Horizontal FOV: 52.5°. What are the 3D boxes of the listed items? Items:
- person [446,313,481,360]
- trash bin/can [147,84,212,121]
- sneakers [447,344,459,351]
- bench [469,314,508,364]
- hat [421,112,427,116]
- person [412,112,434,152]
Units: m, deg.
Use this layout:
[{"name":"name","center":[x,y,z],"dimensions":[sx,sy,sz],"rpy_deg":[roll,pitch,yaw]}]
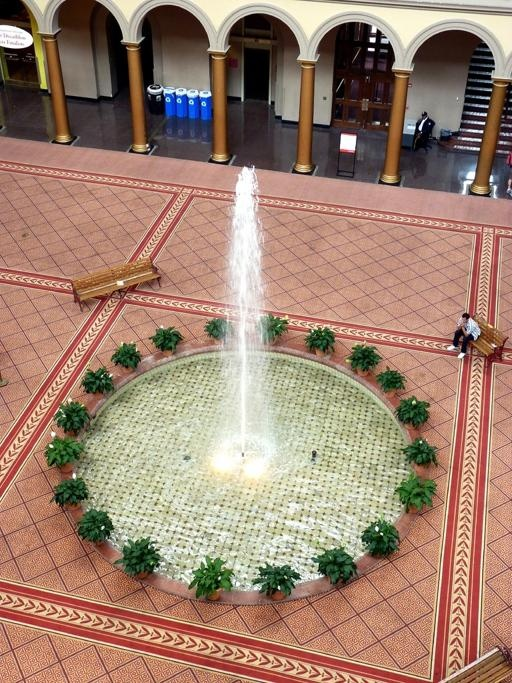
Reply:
[{"name":"person","center":[3.708,-0.134,9.129],"dimensions":[0.477,0.690,0.426],"rpy_deg":[2,16,32]},{"name":"trash bin/can","center":[-2.693,-8.429,18.396],"dimensions":[2.217,1.081,0.720],"rpy_deg":[1,23,-1]},{"name":"sneakers","center":[3.528,0.110,9.301],"dimensions":[0.202,0.084,0.072],"rpy_deg":[-2,54,-7]},{"name":"bench","center":[4.114,-0.014,9.201],"dimensions":[0.380,0.423,0.778],"rpy_deg":[-16,46,-5]},{"name":"hat","center":[5.428,-7.311,16.698],"dimensions":[0.134,0.168,0.170],"rpy_deg":[-2,7,-1]},{"name":"person","center":[5.423,-6.813,16.836],"dimensions":[0.456,1.159,0.934],"rpy_deg":[11,25,22]}]
